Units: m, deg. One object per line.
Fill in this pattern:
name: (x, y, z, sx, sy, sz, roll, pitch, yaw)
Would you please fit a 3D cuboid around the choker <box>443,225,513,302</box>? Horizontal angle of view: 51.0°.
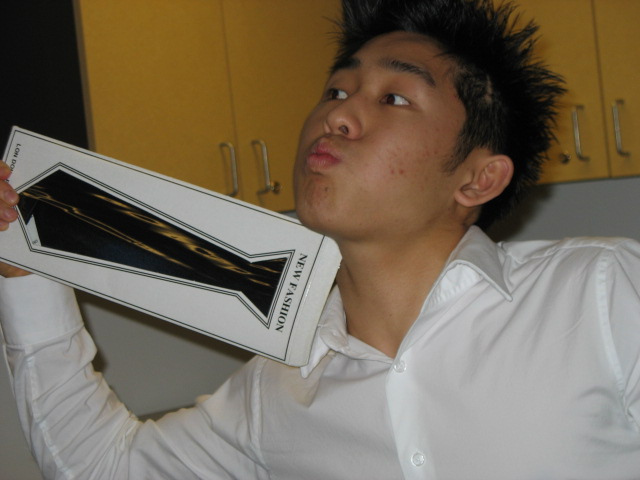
choker: (0.333, 0.060, 1.366, 0.082, 0.140, 0.036, -2, -29, -24)
